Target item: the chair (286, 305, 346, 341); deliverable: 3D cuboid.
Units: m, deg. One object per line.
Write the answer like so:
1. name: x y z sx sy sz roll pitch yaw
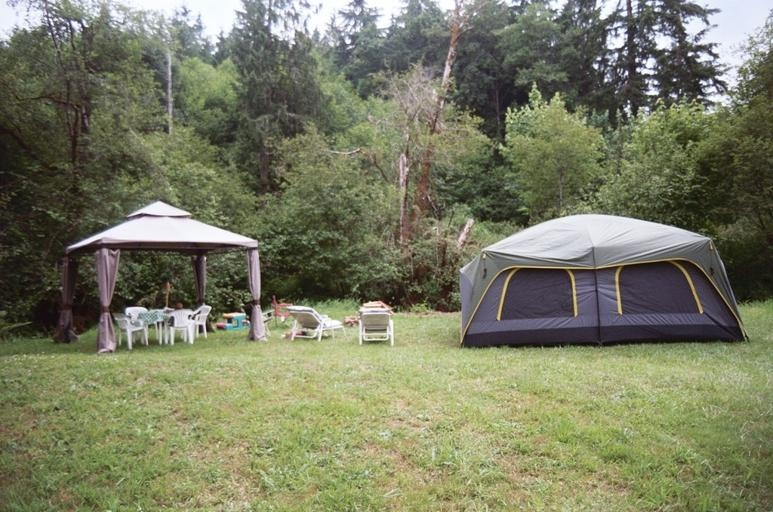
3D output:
1. chair: -2.598 2.459 22.459 1.123 1.045 1.880 0 0 26

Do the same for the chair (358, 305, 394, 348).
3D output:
1. chair: -0.388 2.541 21.515 1.106 1.049 2.120 0 -3 -2
